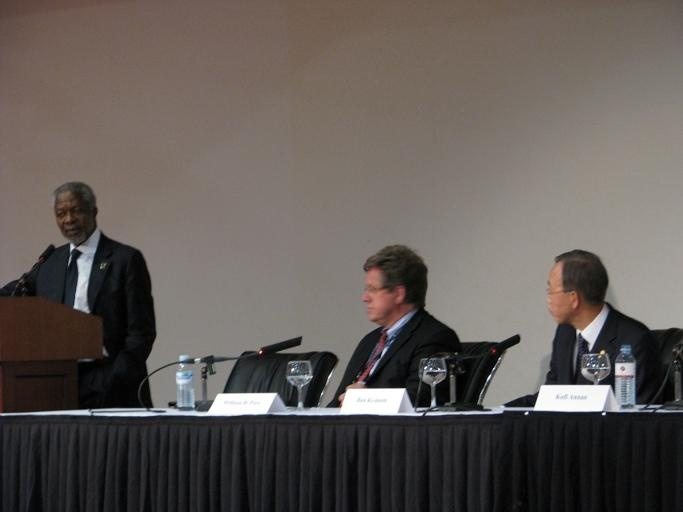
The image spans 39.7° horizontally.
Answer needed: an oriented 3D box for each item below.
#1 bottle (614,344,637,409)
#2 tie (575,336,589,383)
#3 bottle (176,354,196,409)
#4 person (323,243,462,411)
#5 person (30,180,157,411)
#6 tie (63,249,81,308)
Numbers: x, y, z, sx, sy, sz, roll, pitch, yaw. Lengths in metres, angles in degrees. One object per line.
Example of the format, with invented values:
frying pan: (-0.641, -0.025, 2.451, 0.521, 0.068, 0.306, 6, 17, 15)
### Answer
bottle: (1.147, 0.491, 3.815, 0.078, 0.280, 0.274, 2, -13, 16)
tie: (1.081, 0.467, 4.285, 0.062, 0.205, 0.136, 4, -2, 25)
bottle: (-0.691, 0.574, 4.196, 0.093, 0.236, 0.346, 7, -13, -9)
person: (0.238, 0.338, 4.632, 0.455, 0.787, 0.633, 14, -15, -35)
person: (-1.334, 0.210, 5.134, 0.671, 1.241, 0.407, 8, -12, -14)
tie: (-1.479, 0.112, 5.165, 0.072, 0.327, 0.056, 8, -12, -18)
